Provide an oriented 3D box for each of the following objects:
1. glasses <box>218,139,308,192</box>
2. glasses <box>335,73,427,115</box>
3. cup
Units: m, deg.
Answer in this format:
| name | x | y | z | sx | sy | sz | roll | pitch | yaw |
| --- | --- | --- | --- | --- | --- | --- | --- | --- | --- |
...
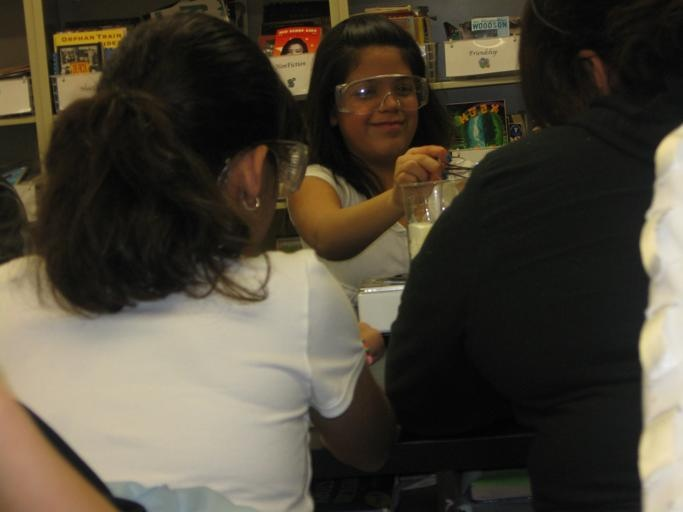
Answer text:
| name | x | y | z | sx | sy | sz | roll | pitch | yaw |
| --- | --- | --- | --- | --- | --- | --- | --- | --- | --- |
| glasses | -0.110 | -0.132 | 1.083 | 0.128 | 0.078 | 0.136 | -1 | 3 | 7 |
| glasses | 0.130 | -0.452 | 1.877 | 0.221 | 0.087 | 0.248 | -3 | 17 | 7 |
| cup | 0.130 | -0.058 | 1.162 | 0.088 | 0.154 | 0.142 | -3 | 5 | -22 |
